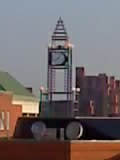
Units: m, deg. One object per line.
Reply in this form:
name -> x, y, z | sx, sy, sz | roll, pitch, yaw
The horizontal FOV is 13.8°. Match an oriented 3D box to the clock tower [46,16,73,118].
clock tower -> -0.165, -1.554, 64.978 | 3.226, 13.286, 5.039 | 0, -7, 0
